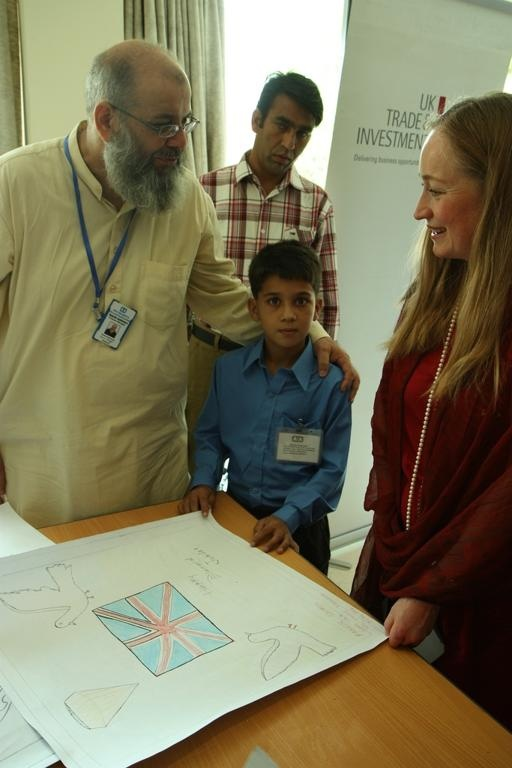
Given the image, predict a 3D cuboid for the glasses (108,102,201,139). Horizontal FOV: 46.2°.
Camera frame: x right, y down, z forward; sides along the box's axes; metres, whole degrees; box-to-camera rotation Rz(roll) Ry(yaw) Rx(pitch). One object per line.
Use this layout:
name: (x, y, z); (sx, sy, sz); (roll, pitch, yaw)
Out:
glasses: (-0.205, -0.543, 1.244); (0.185, 0.065, 0.073); (-5, 18, -18)

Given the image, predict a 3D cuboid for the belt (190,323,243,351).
belt: (-0.138, -0.174, 2.104); (0.143, 0.049, 0.119); (28, 9, 18)

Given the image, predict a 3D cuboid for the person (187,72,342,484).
person: (-0.020, -0.159, 2.395); (0.623, 1.966, 0.556); (1, 18, -7)

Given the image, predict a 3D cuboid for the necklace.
necklace: (0.347, 0.047, 1.144); (0.042, 0.600, 0.029); (34, -33, -30)
